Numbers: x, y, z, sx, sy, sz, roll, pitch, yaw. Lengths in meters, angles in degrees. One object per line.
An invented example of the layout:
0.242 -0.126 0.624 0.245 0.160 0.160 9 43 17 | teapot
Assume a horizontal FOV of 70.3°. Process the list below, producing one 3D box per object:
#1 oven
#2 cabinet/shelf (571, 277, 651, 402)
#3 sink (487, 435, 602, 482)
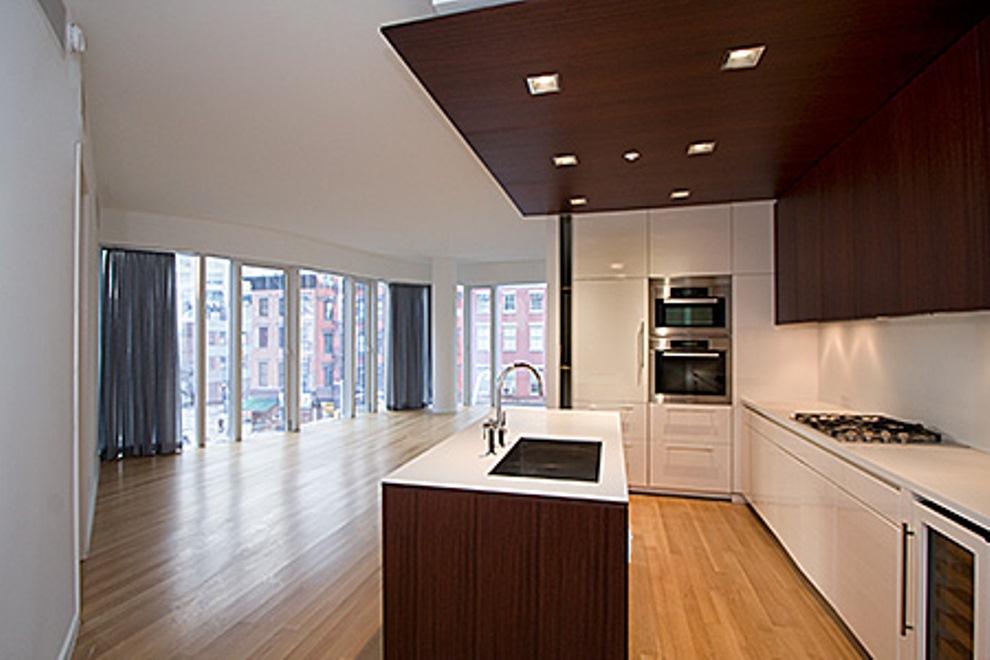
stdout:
1.846 0.128 6.587 0.765 1.131 0.407 -1 -3 22 | oven
1.070 0.113 6.602 0.669 1.176 0.365 2 13 8 | cabinet/shelf
0.348 0.879 4.466 0.640 0.244 0.611 2 11 8 | sink
